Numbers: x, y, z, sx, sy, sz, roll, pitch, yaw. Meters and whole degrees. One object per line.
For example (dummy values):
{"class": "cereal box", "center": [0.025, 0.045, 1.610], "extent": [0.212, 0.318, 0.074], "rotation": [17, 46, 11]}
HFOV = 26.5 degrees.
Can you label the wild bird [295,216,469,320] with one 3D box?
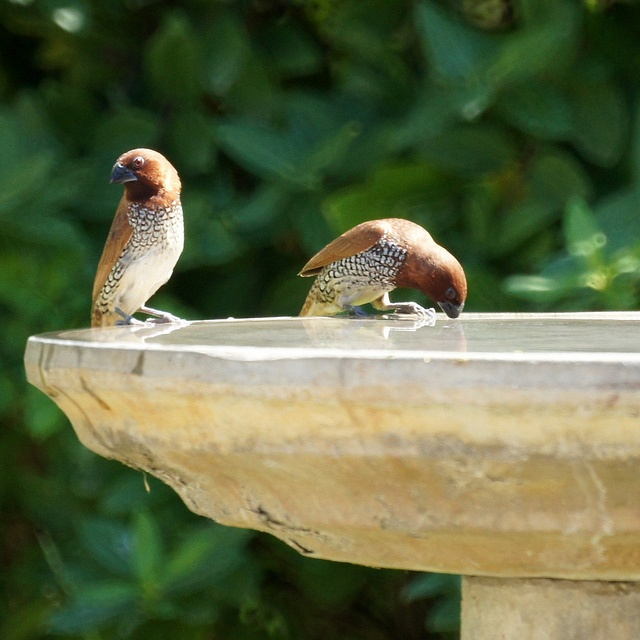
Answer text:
{"class": "wild bird", "center": [0.155, -0.159, 4.395], "extent": [0.813, 0.264, 0.327], "rotation": [3, 94, 44]}
